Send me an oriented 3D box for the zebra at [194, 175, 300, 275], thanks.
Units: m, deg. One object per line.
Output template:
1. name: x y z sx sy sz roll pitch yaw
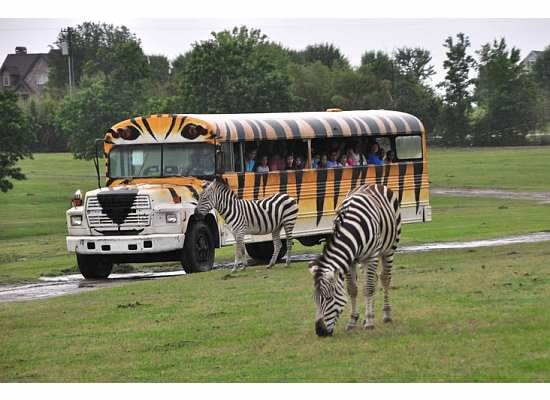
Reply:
1. zebra: -0.724 0.716 23.903 3.345 2.514 0.987 -1 -4 -30

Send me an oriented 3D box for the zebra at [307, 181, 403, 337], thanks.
1. zebra: 1.656 1.184 17.214 1.100 2.861 4.207 -1 7 26
